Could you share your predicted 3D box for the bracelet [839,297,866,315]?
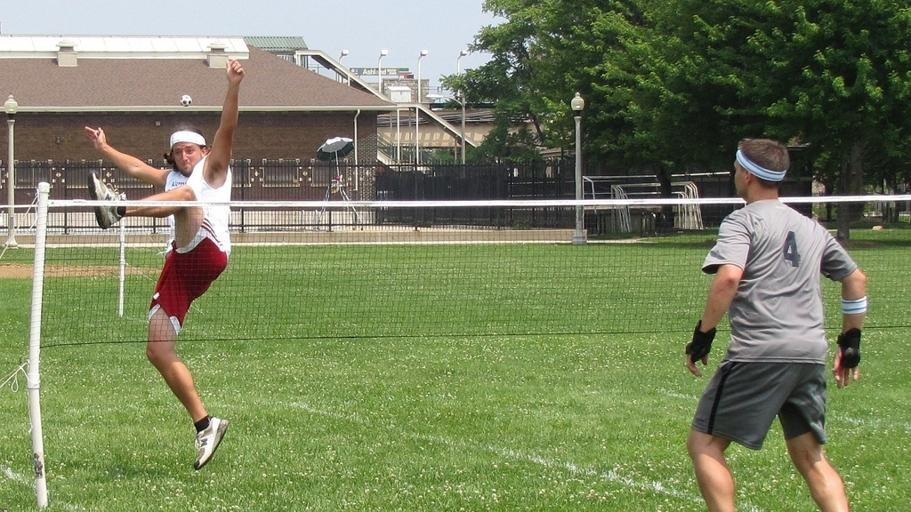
[{"bbox_3d":[6.876,0.852,20.192,0.331,0.216,0.340,-2,-1,41],"label":"bracelet"}]
